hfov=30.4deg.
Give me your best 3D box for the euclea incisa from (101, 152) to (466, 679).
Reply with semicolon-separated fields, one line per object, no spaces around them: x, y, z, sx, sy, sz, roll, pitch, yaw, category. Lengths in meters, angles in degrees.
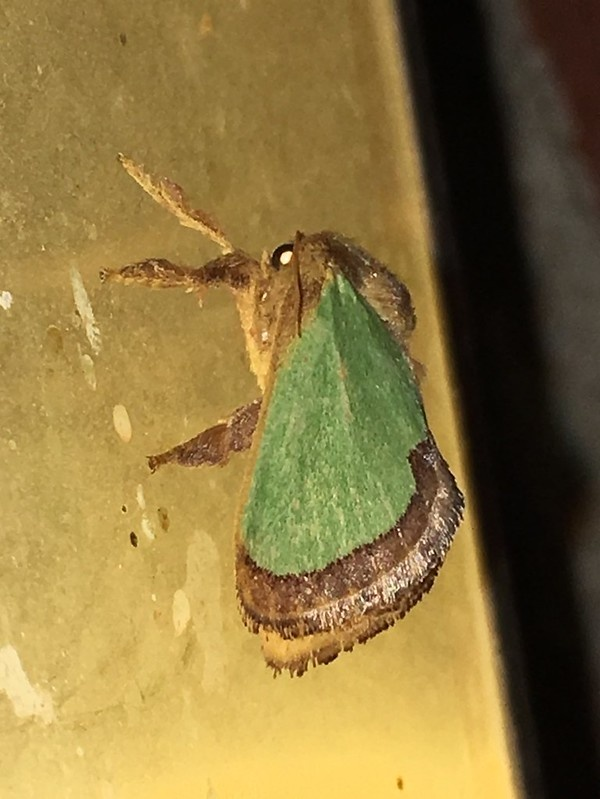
0.000;0.021;1.166;0.346;0.467;0.145;1;-5;-32;euclea incisa
